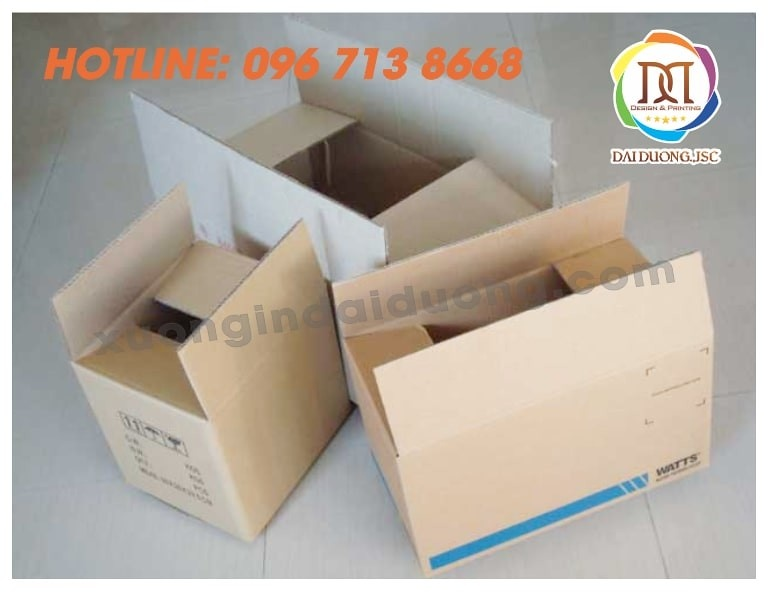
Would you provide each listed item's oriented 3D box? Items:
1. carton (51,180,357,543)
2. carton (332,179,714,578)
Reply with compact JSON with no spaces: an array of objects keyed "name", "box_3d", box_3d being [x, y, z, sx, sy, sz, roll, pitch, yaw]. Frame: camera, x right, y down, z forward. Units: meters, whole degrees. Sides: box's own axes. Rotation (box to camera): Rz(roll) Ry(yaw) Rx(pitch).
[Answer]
[{"name":"carton","box_3d":[-0.454,0.174,1.879,0.415,0.777,0.542,15,48,18]},{"name":"carton","box_3d":[0.343,0.196,1.806,0.824,0.679,0.524,-25,39,-12]}]
